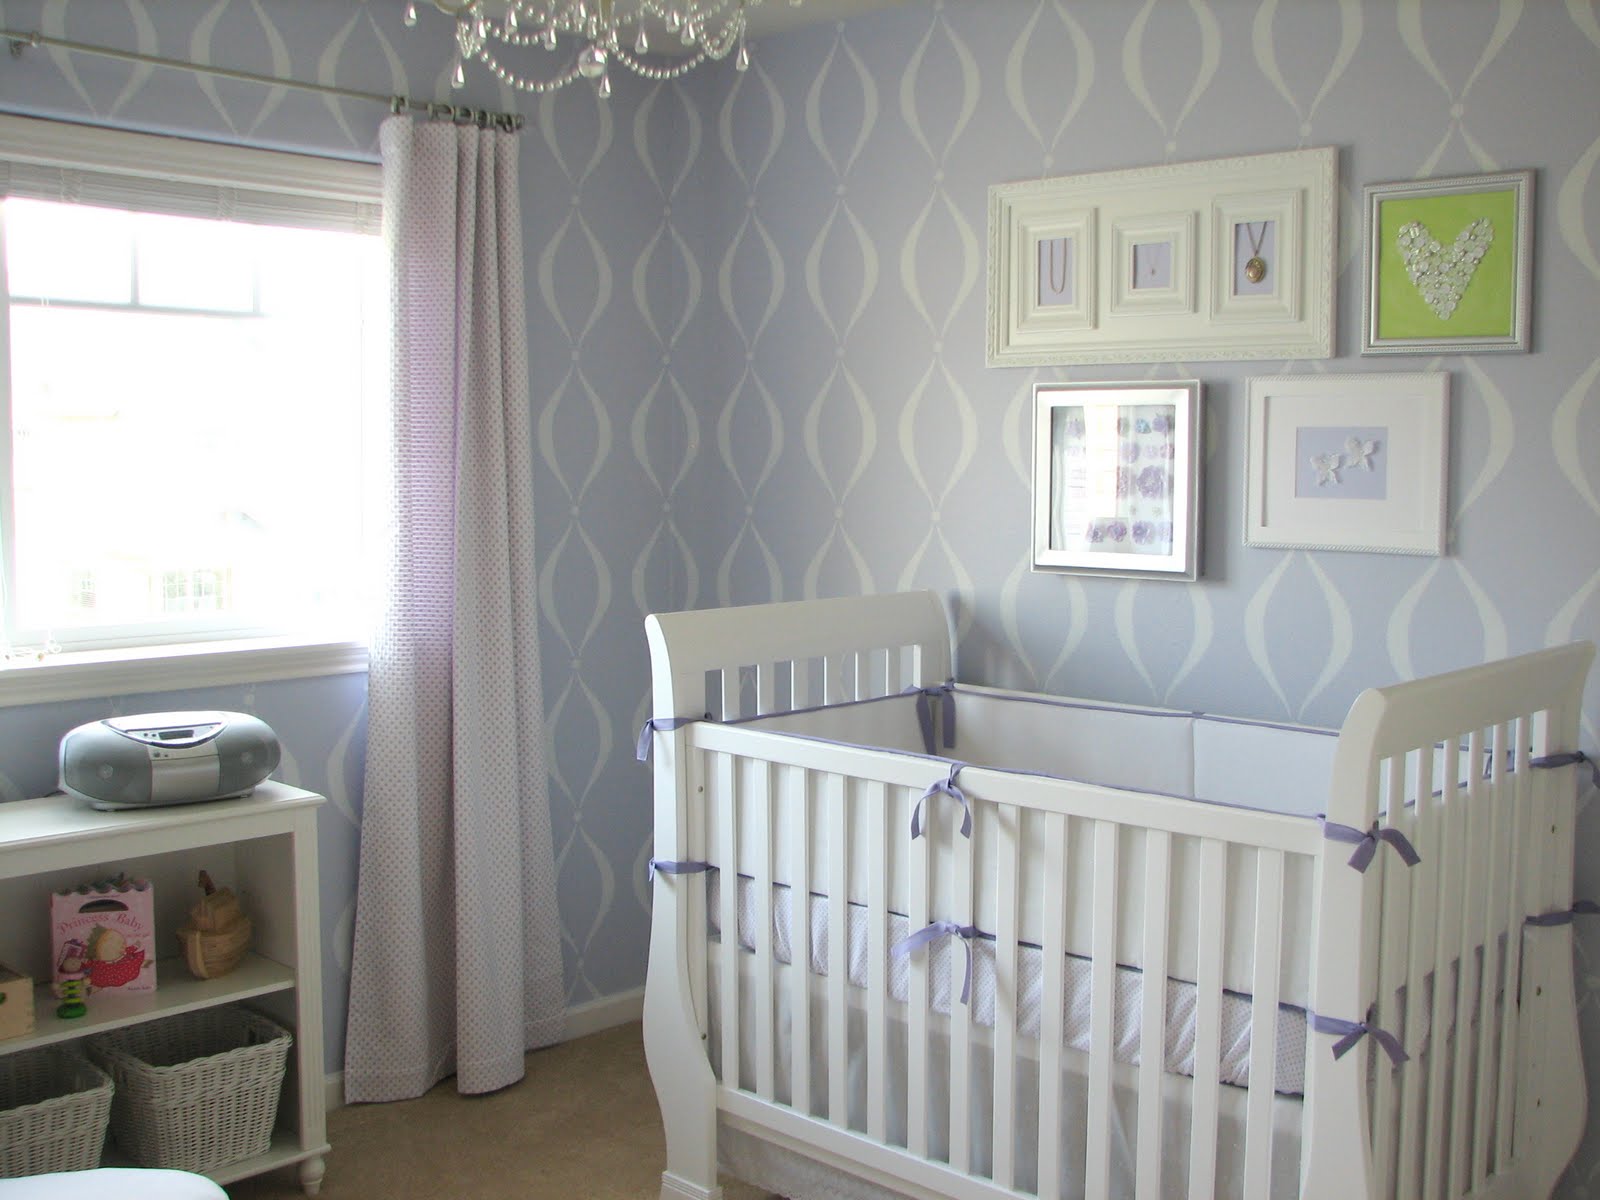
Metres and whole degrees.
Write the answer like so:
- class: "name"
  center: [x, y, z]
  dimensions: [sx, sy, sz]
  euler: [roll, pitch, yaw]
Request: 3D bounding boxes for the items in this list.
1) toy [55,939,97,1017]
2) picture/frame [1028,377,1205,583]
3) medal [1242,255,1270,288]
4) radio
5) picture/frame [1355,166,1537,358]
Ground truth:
- class: "toy"
  center: [-1.564, 0.809, 2.831]
  dimensions: [0.069, 0.131, 0.131]
  euler: [-6, 10, -29]
- class: "picture/frame"
  center: [0.789, -0.304, 3.218]
  dimensions: [0.433, 0.530, 0.035]
  euler: [3, 3, 39]
- class: "medal"
  center: [1.047, -0.753, 3.019]
  dimensions: [0.051, 0.072, 0.021]
  euler: [1, 9, 17]
- class: "radio"
  center: [-1.391, 0.356, 2.921]
  dimensions: [0.426, 0.200, 0.216]
  euler: [-8, 11, -36]
- class: "picture/frame"
  center: [1.385, -0.721, 2.794]
  dimensions: [0.374, 0.490, 0.037]
  euler: [1, 1, 35]
